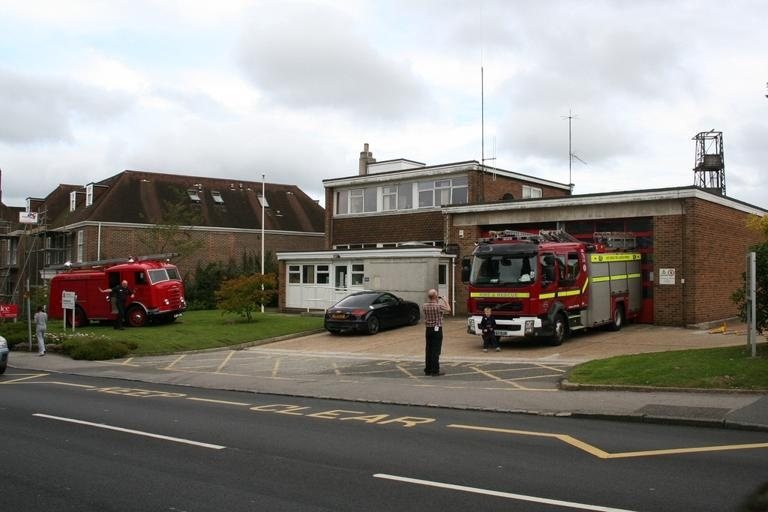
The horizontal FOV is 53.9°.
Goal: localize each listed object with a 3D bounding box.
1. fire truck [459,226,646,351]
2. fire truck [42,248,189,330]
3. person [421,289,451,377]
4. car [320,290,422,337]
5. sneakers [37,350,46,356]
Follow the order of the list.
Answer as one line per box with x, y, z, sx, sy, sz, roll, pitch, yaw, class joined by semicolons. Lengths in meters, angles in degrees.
7.202;1.148;29.740;9.645;4.197;3.139;1;-2;-45;fire truck
-13.523;1.851;38.279;6.812;3.279;2.773;-3;5;23;fire truck
1.653;2.326;22.930;0.892;2.534;0.809;-1;-2;36;person
-0.422;2.758;33.434;2.837;2.167;6.410;1;0;29;car
-13.206;3.745;29.018;0.384;0.158;0.142;-15;-8;42;sneakers
